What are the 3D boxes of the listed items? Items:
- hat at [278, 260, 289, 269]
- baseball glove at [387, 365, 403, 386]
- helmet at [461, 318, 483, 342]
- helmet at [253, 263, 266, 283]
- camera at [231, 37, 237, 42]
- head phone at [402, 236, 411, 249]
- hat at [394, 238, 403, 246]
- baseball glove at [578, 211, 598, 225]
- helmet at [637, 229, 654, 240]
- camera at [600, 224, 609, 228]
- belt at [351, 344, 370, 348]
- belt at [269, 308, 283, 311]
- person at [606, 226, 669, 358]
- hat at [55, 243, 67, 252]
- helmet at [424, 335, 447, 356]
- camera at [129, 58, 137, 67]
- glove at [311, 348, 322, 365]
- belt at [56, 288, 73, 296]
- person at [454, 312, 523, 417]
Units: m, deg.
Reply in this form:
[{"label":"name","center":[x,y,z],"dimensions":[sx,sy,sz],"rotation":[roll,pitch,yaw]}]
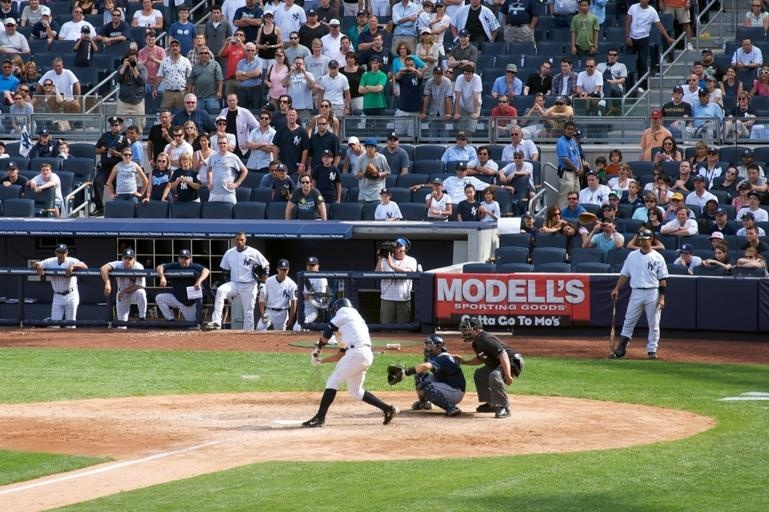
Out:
[{"label":"hat","center":[-2.555,0.202,42.187],"dimensions":[0.247,0.205,0.504],"rotation":[1,-3,-7]},{"label":"baseball glove","center":[0.189,2.443,34.538],"dimensions":[0.303,0.385,0.390],"rotation":[14,-5,14]},{"label":"helmet","center":[1.809,1.515,35.058],"dimensions":[0.418,0.456,0.472],"rotation":[6,15,34]},{"label":"helmet","center":[-3.209,0.459,42.895],"dimensions":[0.358,0.457,0.253],"rotation":[1,-2,-8]},{"label":"camera","center":[-4.340,-6.207,47.871],"dimensions":[0.108,0.101,0.076],"rotation":[4,-4,6]},{"label":"head phone","center":[0.563,-0.330,42.377],"dimensions":[0.215,0.291,0.151],"rotation":[22,48,37]},{"label":"hat","center":[0.382,-0.374,42.275],"dimensions":[0.226,0.152,0.379],"rotation":[0,-2,3]},{"label":"baseball glove","center":[5.261,-0.969,42.842],"dimensions":[0.488,0.349,0.369],"rotation":[0,-2,2]},{"label":"helmet","center":[6.117,-0.510,38.830],"dimensions":[0.257,0.260,0.476],"rotation":[-2,-3,42]},{"label":"camera","center":[5.569,-0.767,41.976],"dimensions":[0.105,0.097,0.092],"rotation":[-10,14,-32]},{"label":"belt","center":[-0.458,1.822,34.196],"dimensions":[0.443,0.063,0.148],"rotation":[2,-3,-31]},{"label":"belt","center":[-2.769,1.342,42.561],"dimensions":[0.330,0.058,0.095],"rotation":[0,-2,-2]},{"label":"person","center":[5.994,0.861,39.070],"dimensions":[1.260,2.904,0.752],"rotation":[2,7,11]},{"label":"hat","center":[-8.362,-0.218,43.095],"dimensions":[0.228,0.181,0.319],"rotation":[2,-15,-17]},{"label":"helmet","center":[1.082,1.870,35.143],"dimensions":[0.414,0.353,0.367],"rotation":[9,0,3]},{"label":"camera","center":[-7.129,-5.470,47.130],"dimensions":[0.183,0.154,0.235],"rotation":[2,-2,-12]},{"label":"glove","center":[-1.392,2.044,34.278],"dimensions":[0.195,0.233,0.374],"rotation":[3,5,0]},{"label":"belt","center":[-8.290,0.934,43.117],"dimensions":[0.461,0.137,0.131],"rotation":[1,-2,-10]},{"label":"person","center":[2.225,2.263,35.346],"dimensions":[1.187,2.210,1.252],"rotation":[-1,-2,-3]}]
